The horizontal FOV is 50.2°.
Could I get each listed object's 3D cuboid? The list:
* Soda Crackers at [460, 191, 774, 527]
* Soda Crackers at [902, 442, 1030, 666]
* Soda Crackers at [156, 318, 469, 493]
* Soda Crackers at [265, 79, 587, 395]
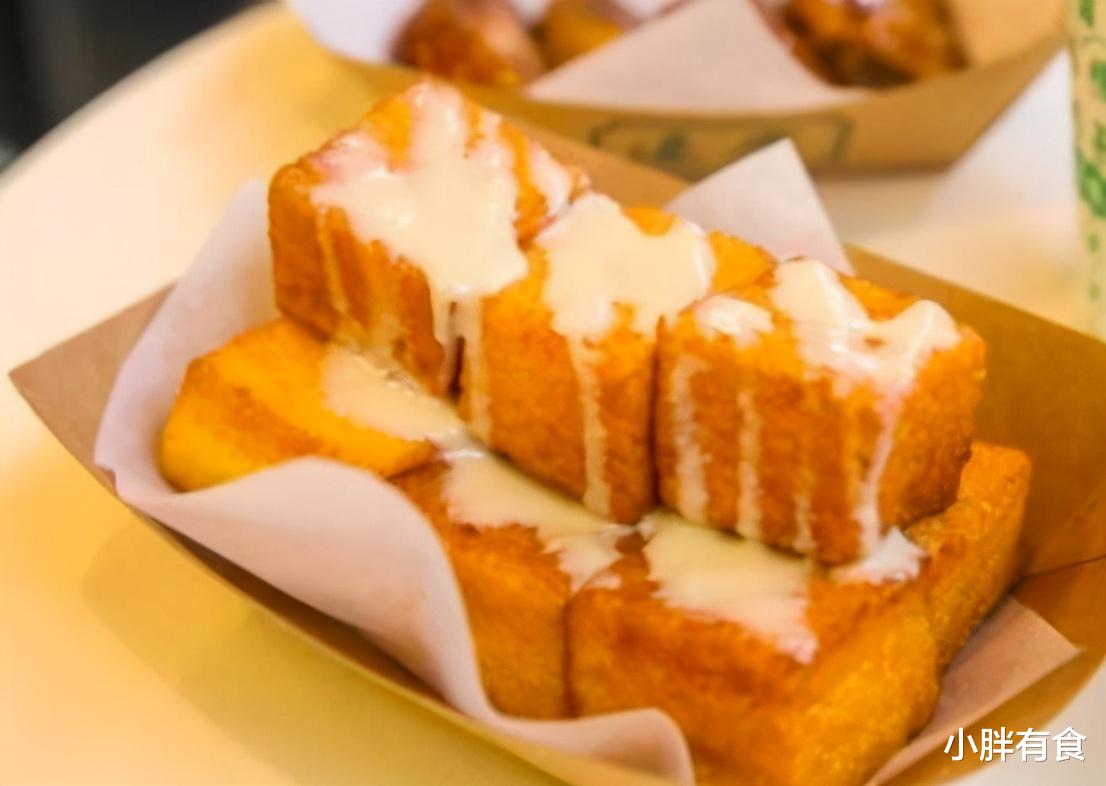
[{"bbox_3d":[0.021,-0.027,1.042,0.252,0.175,0.253,26,50,18],"label":"Soda Crackers"},{"bbox_3d":[0.345,0.127,0.979,0.040,0.154,0.151,15,43,11],"label":"Soda Crackers"},{"bbox_3d":[-0.273,0.020,1.067,0.139,0.136,0.038,29,71,34],"label":"Soda Crackers"},{"bbox_3d":[-0.113,-0.114,1.054,0.264,0.179,0.261,-1,45,-8],"label":"Soda Crackers"}]
